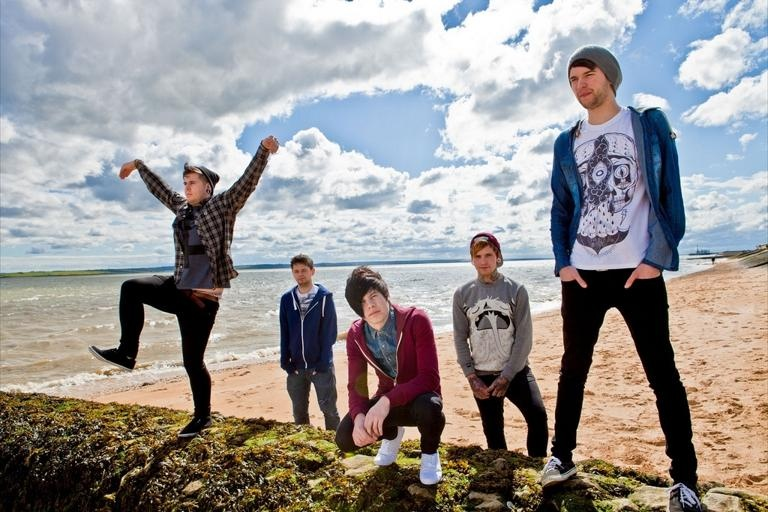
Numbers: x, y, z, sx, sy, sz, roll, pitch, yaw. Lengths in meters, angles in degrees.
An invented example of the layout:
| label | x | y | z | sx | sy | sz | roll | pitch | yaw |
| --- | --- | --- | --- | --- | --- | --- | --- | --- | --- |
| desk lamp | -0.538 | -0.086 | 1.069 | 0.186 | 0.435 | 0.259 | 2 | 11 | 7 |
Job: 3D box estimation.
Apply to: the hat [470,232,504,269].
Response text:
| label | x | y | z | sx | sy | sz | roll | pitch | yaw |
| --- | --- | --- | --- | --- | --- | --- | --- | --- | --- |
| hat | 1.257 | -0.054 | 5.564 | 0.331 | 0.440 | 0.361 | -5 | 0 | 16 |

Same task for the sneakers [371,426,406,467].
| label | x | y | z | sx | sy | sz | roll | pitch | yaw |
| --- | --- | --- | --- | --- | --- | --- | --- | --- | --- |
| sneakers | 0.043 | 2.092 | 4.966 | 0.222 | 0.509 | 0.185 | 29 | -15 | -24 |

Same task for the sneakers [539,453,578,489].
| label | x | y | z | sx | sy | sz | roll | pitch | yaw |
| --- | --- | --- | --- | --- | --- | --- | --- | --- | --- |
| sneakers | 1.753 | 2.158 | 4.558 | 0.419 | 0.256 | 0.190 | 3 | -4 | -37 |

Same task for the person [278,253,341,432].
| label | x | y | z | sx | sy | sz | roll | pitch | yaw |
| --- | --- | --- | --- | --- | --- | --- | --- | --- | --- |
| person | -1.185 | 1.357 | 7.204 | 0.870 | 2.767 | 0.912 | 2 | -4 | -22 |

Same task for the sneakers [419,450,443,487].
| label | x | y | z | sx | sy | sz | roll | pitch | yaw |
| --- | --- | --- | --- | --- | --- | --- | --- | --- | --- |
| sneakers | 0.483 | 2.148 | 4.631 | 0.239 | 0.289 | 0.261 | 0 | -3 | 5 |

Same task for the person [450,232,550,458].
| label | x | y | z | sx | sy | sz | roll | pitch | yaw |
| --- | --- | --- | --- | --- | --- | --- | --- | --- | --- |
| person | 1.455 | 1.099 | 5.815 | 1.186 | 2.801 | 0.694 | -1 | -4 | 22 |
